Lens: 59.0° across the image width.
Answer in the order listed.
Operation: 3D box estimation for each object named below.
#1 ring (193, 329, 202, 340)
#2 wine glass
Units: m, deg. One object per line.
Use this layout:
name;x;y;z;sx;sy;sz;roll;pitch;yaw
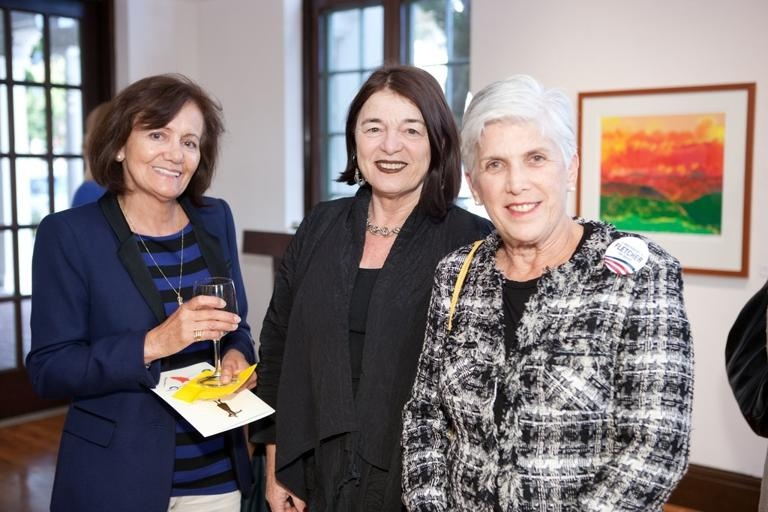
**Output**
ring;-0.710;0.298;2.602;0.026;0.036;0.036;1;-7;-24
wine glass;-0.692;0.284;2.772;0.162;0.410;0.287;-3;10;-19
